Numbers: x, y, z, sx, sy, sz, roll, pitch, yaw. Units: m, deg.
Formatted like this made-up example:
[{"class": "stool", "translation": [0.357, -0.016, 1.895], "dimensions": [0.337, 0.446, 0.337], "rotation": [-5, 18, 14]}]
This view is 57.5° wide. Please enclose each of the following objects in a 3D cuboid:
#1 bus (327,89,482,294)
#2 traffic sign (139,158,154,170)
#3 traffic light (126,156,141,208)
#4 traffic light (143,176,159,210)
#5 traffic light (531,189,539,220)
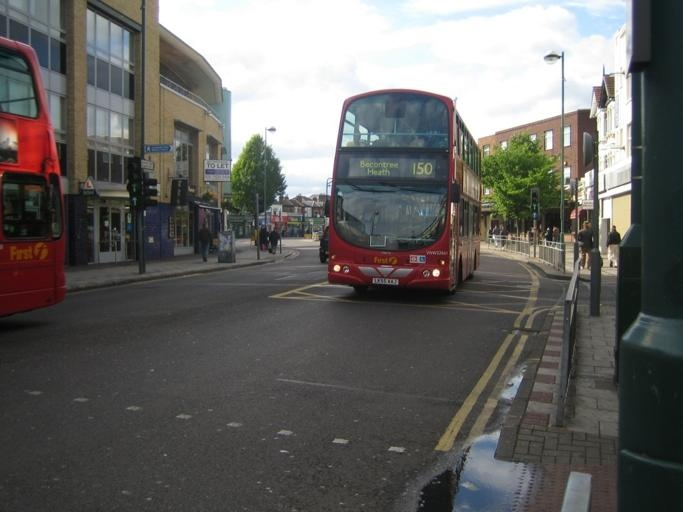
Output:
[{"class": "bus", "translation": [2.048, -1.537, 15.543], "dimensions": [4.710, 5.041, 2.491], "rotation": [-5, 6, -43]}, {"class": "traffic sign", "translation": [-7.251, -3.432, 23.165], "dimensions": [0.365, 0.344, 1.074], "rotation": [-2, 5, -12]}, {"class": "traffic light", "translation": [-7.603, -2.701, 22.813], "dimensions": [0.488, 1.842, 0.906], "rotation": [-2, 4, -19]}, {"class": "traffic light", "translation": [-7.368, -2.428, 23.859], "dimensions": [0.493, 1.221, 1.562], "rotation": [-2, 4, -14]}, {"class": "traffic light", "translation": [10.840, -2.928, 34.730], "dimensions": [0.410, 1.649, 0.738], "rotation": [0, 4, 9]}]
